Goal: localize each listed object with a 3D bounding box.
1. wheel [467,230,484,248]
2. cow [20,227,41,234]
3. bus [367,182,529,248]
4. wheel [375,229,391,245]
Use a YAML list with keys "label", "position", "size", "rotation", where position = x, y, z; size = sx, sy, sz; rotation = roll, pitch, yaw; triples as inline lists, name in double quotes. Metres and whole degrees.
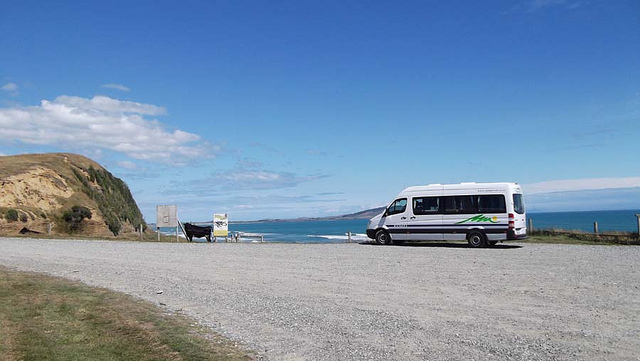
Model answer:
- label: "wheel"
  position: [9.571, 3.546, 22.745]
  size: [1.202, 1.012, 0.406]
  rotation: [-5, 0, 21]
- label: "cow"
  position: [-30.713, 5.242, 39.108]
  size: [0.453, 0.743, 1.728]
  rotation: [1, 1, 26]
- label: "bus"
  position: [8.784, 2.411, 25.279]
  size: [4.058, 3.819, 10.829]
  rotation: [7, -9, -42]
- label: "wheel"
  position: [4.257, 3.769, 24.931]
  size: [1.000, 0.870, 0.378]
  rotation: [17, 4, 21]
